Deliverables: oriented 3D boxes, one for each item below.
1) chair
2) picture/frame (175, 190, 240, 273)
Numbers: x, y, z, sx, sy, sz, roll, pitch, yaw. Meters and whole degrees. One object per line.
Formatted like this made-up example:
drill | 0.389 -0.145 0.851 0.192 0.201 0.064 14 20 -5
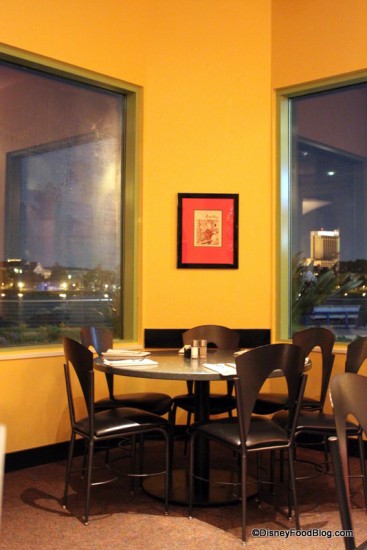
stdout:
chair | 0.005 0.768 2.464 1.261 0.871 0.971 -2 -6 23
picture/frame | 0.176 -0.345 3.902 0.650 0.820 0.040 0 -1 -3
